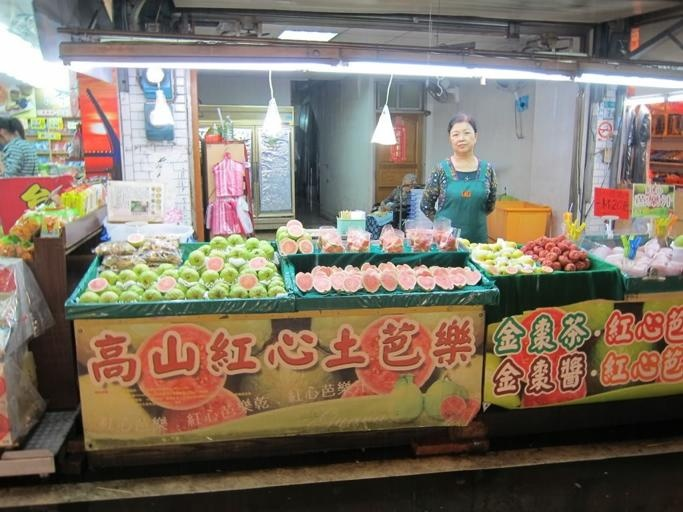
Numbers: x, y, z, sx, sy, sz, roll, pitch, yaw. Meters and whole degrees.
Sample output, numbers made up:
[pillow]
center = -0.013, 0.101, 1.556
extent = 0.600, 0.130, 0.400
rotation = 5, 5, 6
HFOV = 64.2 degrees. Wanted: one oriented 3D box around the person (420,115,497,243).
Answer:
[person]
center = 1.117, -0.723, 5.226
extent = 0.708, 1.213, 0.374
rotation = 0, 12, 14
